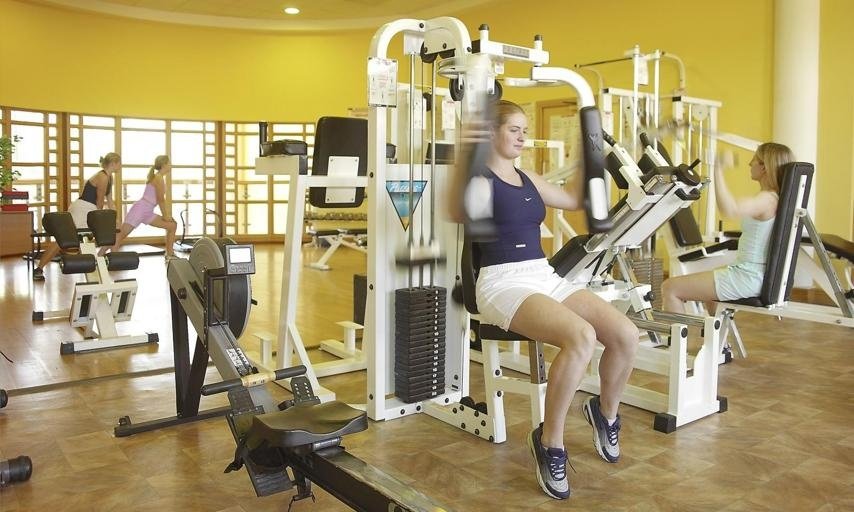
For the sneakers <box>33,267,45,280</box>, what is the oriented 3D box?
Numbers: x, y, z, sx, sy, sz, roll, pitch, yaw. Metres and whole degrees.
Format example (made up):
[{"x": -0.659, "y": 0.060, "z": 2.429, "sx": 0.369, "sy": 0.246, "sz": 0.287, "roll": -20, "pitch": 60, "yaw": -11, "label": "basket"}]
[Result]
[{"x": -5.005, "y": 0.242, "z": 7.819, "sx": 0.113, "sy": 0.118, "sz": 0.305, "roll": -1, "pitch": 0, "yaw": -42, "label": "sneakers"}]

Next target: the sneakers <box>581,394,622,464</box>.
[{"x": 1.137, "y": 1.069, "z": 3.808, "sx": 0.167, "sy": 0.432, "sz": 0.214, "roll": -16, "pitch": -6, "yaw": -42, "label": "sneakers"}]

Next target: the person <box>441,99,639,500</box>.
[{"x": 0.712, "y": 0.213, "z": 3.613, "sx": 1.036, "sy": 2.269, "sz": 0.803, "roll": 1, "pitch": 10, "yaw": 17, "label": "person"}]

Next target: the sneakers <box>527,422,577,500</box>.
[{"x": 0.701, "y": 1.186, "z": 3.534, "sx": 0.174, "sy": 0.431, "sz": 0.204, "roll": -7, "pitch": -19, "yaw": -28, "label": "sneakers"}]

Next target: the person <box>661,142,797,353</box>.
[{"x": 2.211, "y": -0.189, "z": 4.642, "sx": 0.976, "sy": 1.296, "sz": 0.657, "roll": -8, "pitch": 11, "yaw": -33, "label": "person"}]
